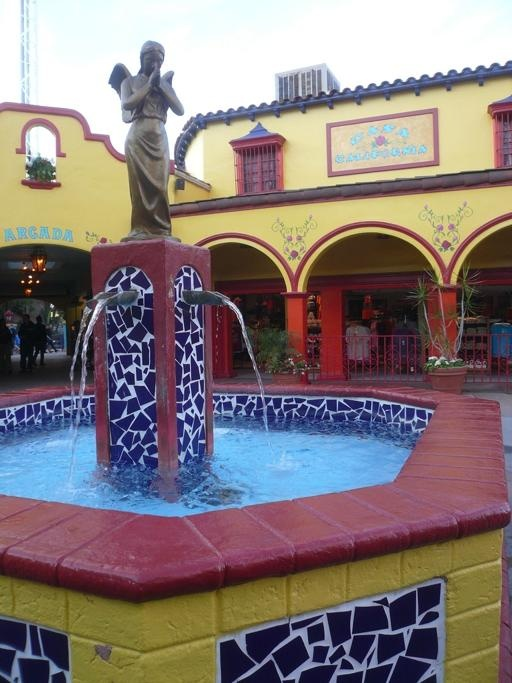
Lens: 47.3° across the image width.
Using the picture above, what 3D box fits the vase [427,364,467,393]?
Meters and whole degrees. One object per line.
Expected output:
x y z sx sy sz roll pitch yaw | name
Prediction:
2.946 0.585 9.023 0.465 0.351 0.468 0 -2 -1 | vase

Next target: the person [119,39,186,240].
-0.739 -1.396 4.208 0.442 1.386 0.425 -1 0 -19 | person

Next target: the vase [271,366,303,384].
0.559 0.620 10.509 0.524 0.199 0.340 -1 0 0 | vase

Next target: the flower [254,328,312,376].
0.347 0.141 10.719 1.105 1.216 0.833 -4 11 -6 | flower
